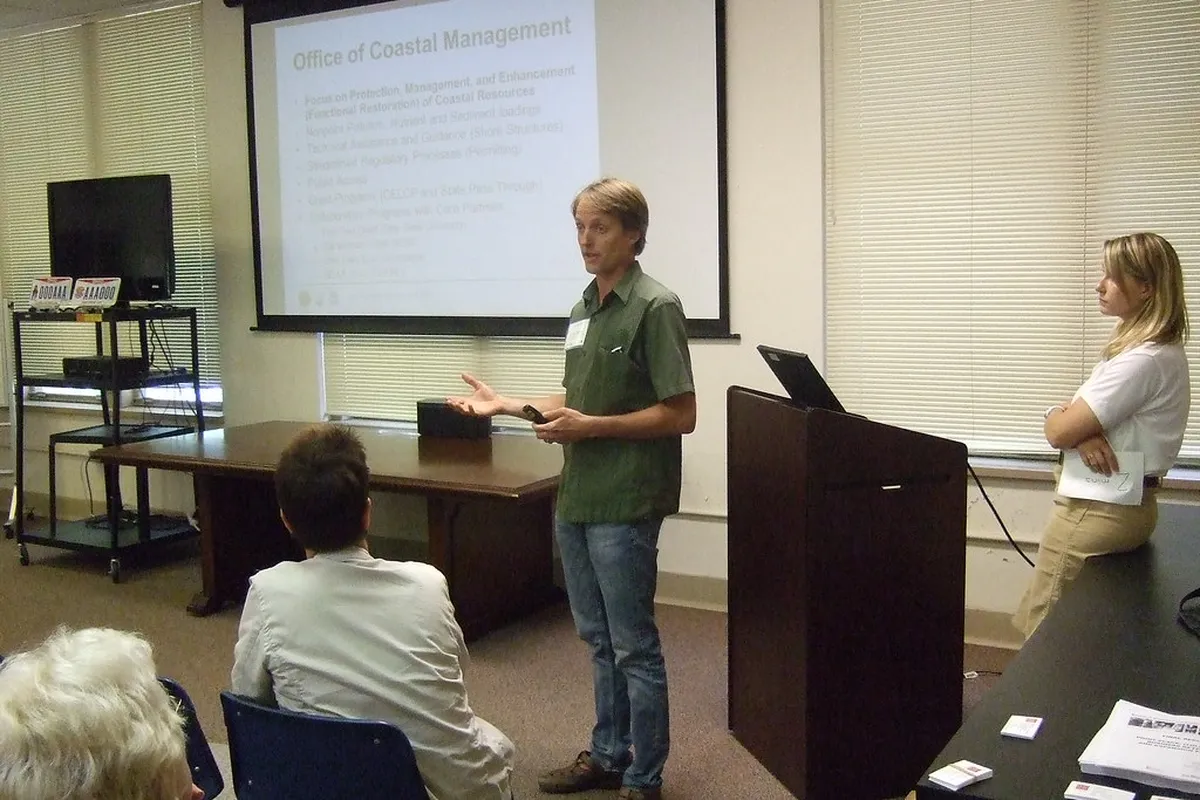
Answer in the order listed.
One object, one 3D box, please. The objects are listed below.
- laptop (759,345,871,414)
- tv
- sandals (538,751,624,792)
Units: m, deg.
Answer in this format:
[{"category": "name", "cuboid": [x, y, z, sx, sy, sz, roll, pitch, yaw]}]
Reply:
[{"category": "laptop", "cuboid": [0.660, -0.074, 2.643, 0.205, 0.169, 0.237, -7, 4, -25]}, {"category": "tv", "cuboid": [-2.980, -0.986, 5.287, 0.745, 0.712, 0.138, 1, 5, 25]}, {"category": "sandals", "cuboid": [-0.062, 1.302, 3.029, 0.286, 0.137, 0.129, 3, -3, -1]}]
